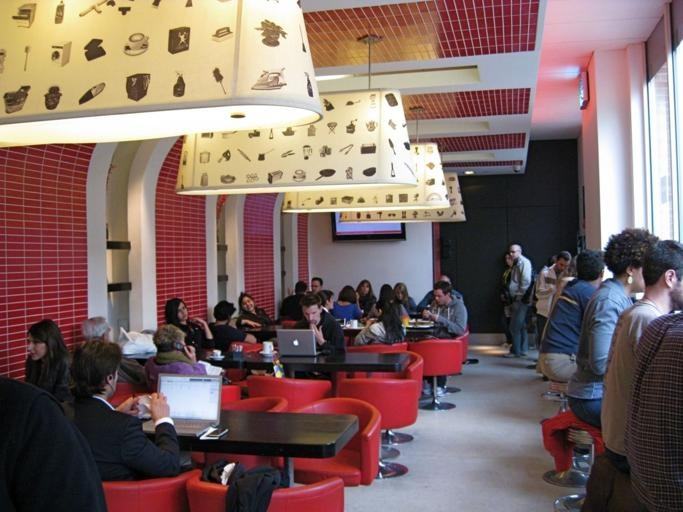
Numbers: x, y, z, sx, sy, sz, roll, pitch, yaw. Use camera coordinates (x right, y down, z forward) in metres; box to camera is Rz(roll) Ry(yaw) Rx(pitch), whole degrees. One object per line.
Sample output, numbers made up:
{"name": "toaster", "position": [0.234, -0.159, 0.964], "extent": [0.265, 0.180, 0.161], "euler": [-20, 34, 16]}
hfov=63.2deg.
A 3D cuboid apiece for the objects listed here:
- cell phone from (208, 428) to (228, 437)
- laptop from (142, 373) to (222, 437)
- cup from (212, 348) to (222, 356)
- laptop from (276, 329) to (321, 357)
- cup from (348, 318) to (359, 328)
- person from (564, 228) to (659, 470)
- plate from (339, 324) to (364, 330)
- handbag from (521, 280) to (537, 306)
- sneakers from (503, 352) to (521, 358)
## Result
{"name": "cell phone", "position": [-0.739, 1.062, 3.319], "extent": [0.096, 0.015, 0.165], "euler": [-1, 0, 11]}
{"name": "laptop", "position": [-0.927, 0.914, 3.298], "extent": [0.428, 0.372, 0.300], "euler": [2, 7, 1]}
{"name": "cup", "position": [-1.317, 1.026, 5.837], "extent": [0.083, 0.097, 0.104], "euler": [-1, -3, 25]}
{"name": "laptop", "position": [-0.457, 0.898, 5.672], "extent": [0.351, 0.270, 0.280], "euler": [0, 1, 16]}
{"name": "cup", "position": [0.192, 1.007, 8.153], "extent": [0.113, 0.119, 0.103], "euler": [1, -4, 0]}
{"name": "person", "position": [1.825, 0.609, 3.755], "extent": [0.604, 1.557, 0.626], "euler": [6, 1, 6]}
{"name": "plate", "position": [0.161, 1.055, 7.984], "extent": [0.242, 0.063, 0.263], "euler": [1, -2, -23]}
{"name": "handbag", "position": [3.584, 0.726, 10.608], "extent": [0.136, 0.428, 0.295], "euler": [18, -4, 8]}
{"name": "sneakers", "position": [3.267, 1.905, 10.619], "extent": [0.293, 0.132, 0.112], "euler": [4, -9, 1]}
